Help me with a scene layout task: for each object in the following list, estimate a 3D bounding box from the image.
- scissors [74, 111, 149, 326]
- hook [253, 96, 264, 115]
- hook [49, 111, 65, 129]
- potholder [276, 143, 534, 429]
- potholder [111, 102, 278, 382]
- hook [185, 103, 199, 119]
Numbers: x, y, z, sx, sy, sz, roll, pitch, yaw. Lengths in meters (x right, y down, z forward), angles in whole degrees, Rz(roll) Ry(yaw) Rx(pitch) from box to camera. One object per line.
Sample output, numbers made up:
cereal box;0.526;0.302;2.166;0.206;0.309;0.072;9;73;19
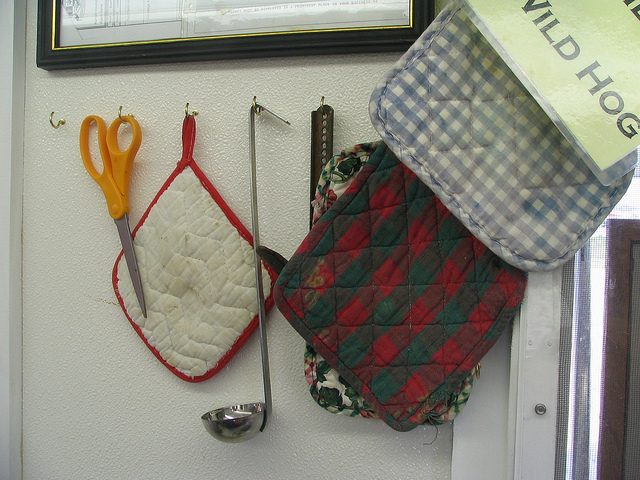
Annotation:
scissors;-0.409;-0.058;1.503;0.144;0.460;0.055;-13;-3;8
hook;-0.128;-0.267;1.431;0.020;0.034;0.011;-2;13;-4
hook;-0.562;-0.254;1.531;0.029;0.036;0.029;-8;25;-30
potholder;0.164;0.097;1.378;0.498;0.513;0.133;42;0;7
potholder;-0.263;-0.003;1.493;0.332;0.554;0.059;-4;-3;5
hook;-0.263;-0.261;1.470;0.021;0.034;0.038;4;17;11
